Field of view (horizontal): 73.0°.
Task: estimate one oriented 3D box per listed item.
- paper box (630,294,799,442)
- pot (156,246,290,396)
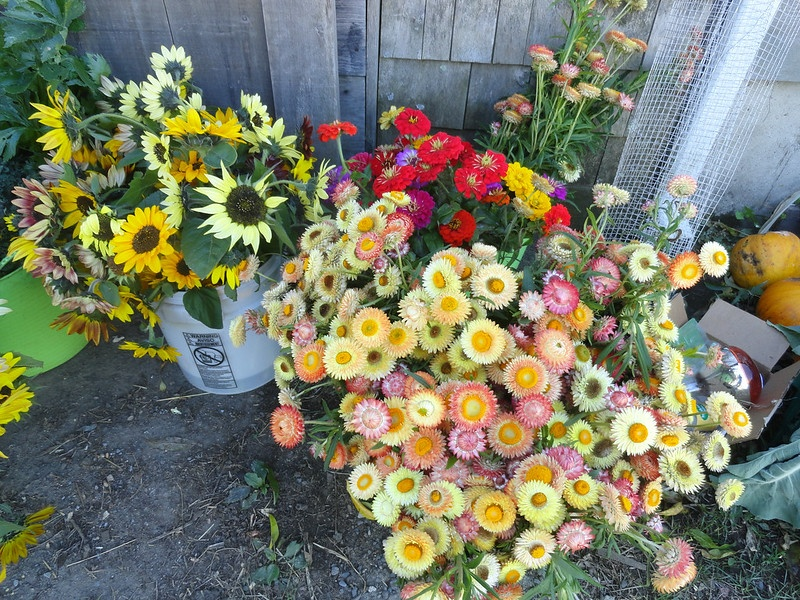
[{"bbox_3d":[1.343,0.304,2.360,0.521,0.349,0.586,15,56,-8],"label":"paper box"},{"bbox_3d":[-0.727,0.100,2.302,0.425,0.448,0.429,-5,30,3],"label":"pot"}]
